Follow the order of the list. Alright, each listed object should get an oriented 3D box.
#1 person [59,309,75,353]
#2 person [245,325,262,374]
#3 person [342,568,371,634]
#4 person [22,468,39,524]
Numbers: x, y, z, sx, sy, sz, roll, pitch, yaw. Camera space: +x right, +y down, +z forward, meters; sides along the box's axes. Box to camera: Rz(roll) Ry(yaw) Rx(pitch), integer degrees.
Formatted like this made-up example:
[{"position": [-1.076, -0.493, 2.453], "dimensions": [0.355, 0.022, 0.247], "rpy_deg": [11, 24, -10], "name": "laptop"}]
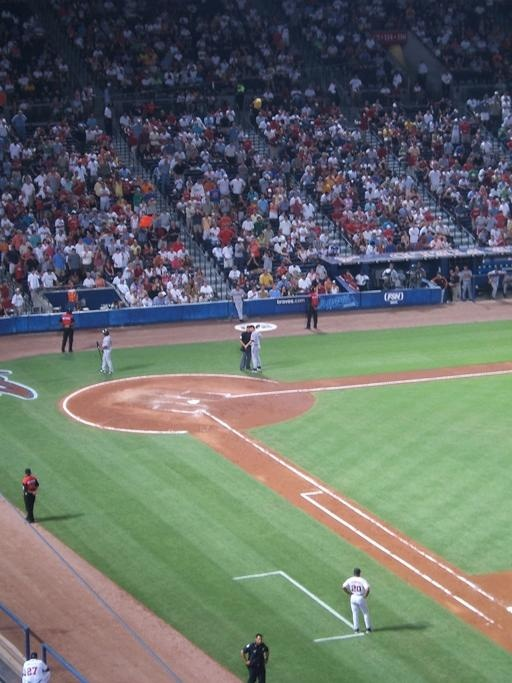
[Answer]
[{"position": [-6.813, -0.406, 55.547], "dimensions": [0.415, 1.684, 1.879], "rpy_deg": [1, 9, -7], "name": "person"}, {"position": [-0.044, 0.213, 52.769], "dimensions": [0.510, 1.629, 1.351], "rpy_deg": [2, 8, 0], "name": "person"}, {"position": [2.390, 5.860, 35.891], "dimensions": [0.681, 1.620, 1.557], "rpy_deg": [3, 8, 5], "name": "person"}, {"position": [-5.918, 3.940, 40.047], "dimensions": [0.423, 1.518, 0.396], "rpy_deg": [-13, 30, -32], "name": "person"}]
